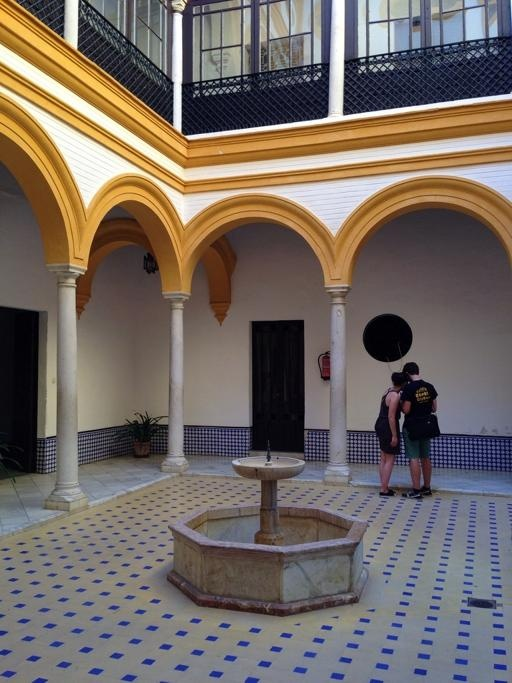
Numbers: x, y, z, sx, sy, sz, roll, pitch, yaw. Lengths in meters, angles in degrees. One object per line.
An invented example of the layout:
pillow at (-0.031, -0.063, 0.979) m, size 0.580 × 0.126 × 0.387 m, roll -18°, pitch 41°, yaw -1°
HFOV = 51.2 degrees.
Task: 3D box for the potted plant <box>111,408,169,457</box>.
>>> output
potted plant at (-2.078, 1.629, 9.763) m, size 0.668 × 0.601 × 0.709 m, roll -1°, pitch -1°, yaw 30°

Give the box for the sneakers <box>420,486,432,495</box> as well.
sneakers at (2.041, 1.785, 6.439) m, size 0.137 × 0.111 × 0.068 m, roll 3°, pitch 0°, yaw 30°

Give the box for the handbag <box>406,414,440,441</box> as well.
handbag at (1.910, 0.981, 6.134) m, size 0.400 × 0.296 × 0.175 m, roll 4°, pitch -7°, yaw -34°

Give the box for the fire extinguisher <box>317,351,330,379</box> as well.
fire extinguisher at (1.114, 0.408, 8.977) m, size 0.225 × 0.495 × 0.149 m, roll -2°, pitch -6°, yaw 22°
